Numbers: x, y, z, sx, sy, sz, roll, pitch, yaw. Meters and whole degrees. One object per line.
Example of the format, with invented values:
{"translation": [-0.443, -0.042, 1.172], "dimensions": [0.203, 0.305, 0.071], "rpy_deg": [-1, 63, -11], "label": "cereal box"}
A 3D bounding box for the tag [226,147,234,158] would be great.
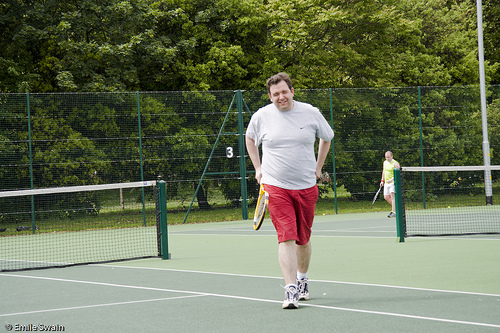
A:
{"translation": [-0.697, -0.477, 18.495], "dimensions": [0.326, 0.505, 0.054], "rpy_deg": [1, -7, -12], "label": "tag"}

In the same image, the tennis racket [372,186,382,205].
{"translation": [4.491, 1.028, 19.632], "dimensions": [0.110, 0.781, 0.159], "rpy_deg": [32, 12, 7], "label": "tennis racket"}

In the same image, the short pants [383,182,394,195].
{"translation": [4.527, 0.718, 18.060], "dimensions": [0.306, 0.505, 0.500], "rpy_deg": [0, 1, -32], "label": "short pants"}

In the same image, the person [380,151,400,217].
{"translation": [4.563, 0.546, 18.192], "dimensions": [0.454, 2.181, 1.416], "rpy_deg": [-2, -1, 7], "label": "person"}

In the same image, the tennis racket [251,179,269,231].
{"translation": [0.211, 0.837, 12.044], "dimensions": [0.145, 0.586, 1.488], "rpy_deg": [18, -30, 2], "label": "tennis racket"}
